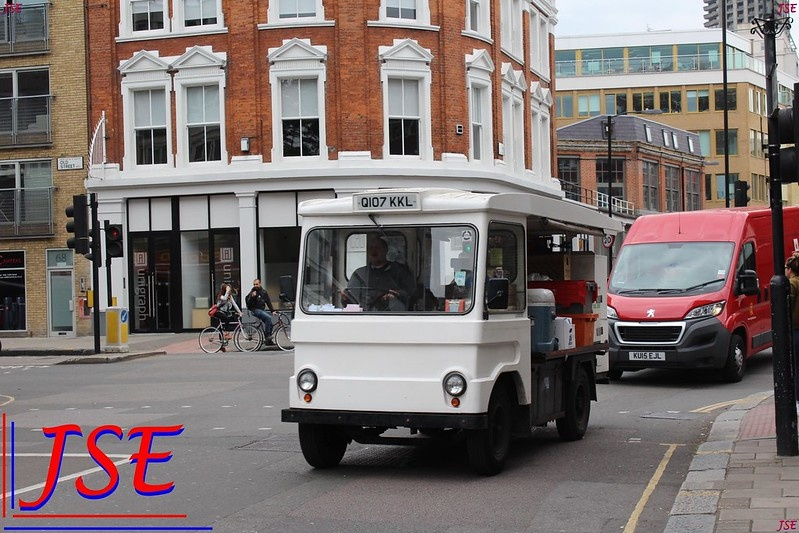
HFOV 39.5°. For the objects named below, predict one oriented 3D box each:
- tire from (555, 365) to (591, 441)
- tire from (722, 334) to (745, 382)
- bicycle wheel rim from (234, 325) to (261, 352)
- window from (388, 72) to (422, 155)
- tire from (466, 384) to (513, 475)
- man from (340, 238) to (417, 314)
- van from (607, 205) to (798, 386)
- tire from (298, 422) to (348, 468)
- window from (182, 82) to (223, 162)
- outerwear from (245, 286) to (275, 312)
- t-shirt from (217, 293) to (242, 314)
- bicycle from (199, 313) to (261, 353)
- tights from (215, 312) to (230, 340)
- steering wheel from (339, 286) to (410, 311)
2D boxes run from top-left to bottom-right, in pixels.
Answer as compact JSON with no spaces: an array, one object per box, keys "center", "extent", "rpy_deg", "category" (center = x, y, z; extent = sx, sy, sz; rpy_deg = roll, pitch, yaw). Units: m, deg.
[{"center":[2.788,2.204,18.089],"extent":[0.381,1.152,1.230],"rpy_deg":[-3,-8,27],"category":"tire"},{"center":[6.808,1.852,22.845],"extent":[0.310,0.828,0.873],"rpy_deg":[-7,12,31],"category":"tire"},{"center":[-4.334,1.995,32.018],"extent":[0.766,0.724,0.416],"rpy_deg":[0,7,17],"category":"bicycle wheel rim"},{"center":[0.182,-5.069,37.296],"extent":[1.168,2.560,0.581],"rpy_deg":[-3,7,-11],"category":"window"},{"center":[1.344,2.372,16.299],"extent":[0.314,1.308,0.864],"rpy_deg":[4,8,38],"category":"tire"},{"center":[-0.261,0.148,16.451],"extent":[0.928,1.151,0.701],"rpy_deg":[-7,-17,16],"category":"man"},{"center":[6.142,0.607,23.515],"extent":[4.086,3.469,2.330],"rpy_deg":[-5,7,-29],"category":"van"},{"center":[-1.130,2.625,16.590],"extent":[0.229,0.667,0.660],"rpy_deg":[-8,-14,22],"category":"tire"},{"center":[-6.647,-4.924,37.803],"extent":[1.195,2.556,0.751],"rpy_deg":[-1,7,2],"category":"window"},{"center":[-4.039,0.955,32.589],"extent":[0.901,0.825,0.745],"rpy_deg":[2,-15,-20],"category":"outerwear"},{"center":[-4.953,1.093,32.391],"extent":[0.633,0.559,1.108],"rpy_deg":[-3,6,-10],"category":"t-shirt"},{"center":[-4.913,2.000,32.436],"extent":[1.849,0.989,0.810],"rpy_deg":[-3,1,-3],"category":"bicycle"},{"center":[-5.053,1.670,32.251],"extent":[0.186,0.718,0.488],"rpy_deg":[-2,10,-32],"category":"tights"},{"center":[-0.343,0.494,16.553],"extent":[0.633,0.266,0.439],"rpy_deg":[0,-7,17],"category":"steering wheel"}]
